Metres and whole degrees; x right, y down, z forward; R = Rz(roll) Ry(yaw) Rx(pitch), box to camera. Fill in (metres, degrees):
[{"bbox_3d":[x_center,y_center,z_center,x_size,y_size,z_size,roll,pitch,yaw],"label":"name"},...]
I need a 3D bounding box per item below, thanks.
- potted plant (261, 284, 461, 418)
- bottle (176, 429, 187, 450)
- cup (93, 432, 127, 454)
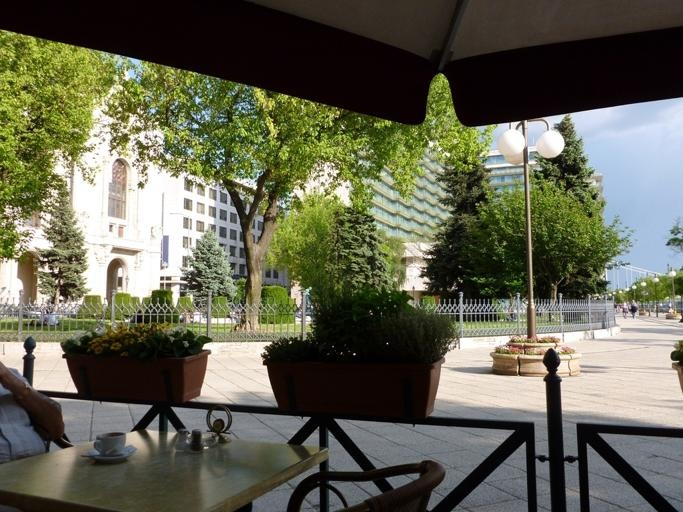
[{"bbox_3d":[0.095,0.652,3.180,1.082,0.768,0.773,-1,-6,18],"label":"potted plant"},{"bbox_3d":[-0.950,1.087,3.077,0.064,0.124,0.066,1,-11,0],"label":"bottle"},{"bbox_3d":[-1.258,1.012,2.809,0.133,0.099,0.112,0,1,16],"label":"cup"}]
